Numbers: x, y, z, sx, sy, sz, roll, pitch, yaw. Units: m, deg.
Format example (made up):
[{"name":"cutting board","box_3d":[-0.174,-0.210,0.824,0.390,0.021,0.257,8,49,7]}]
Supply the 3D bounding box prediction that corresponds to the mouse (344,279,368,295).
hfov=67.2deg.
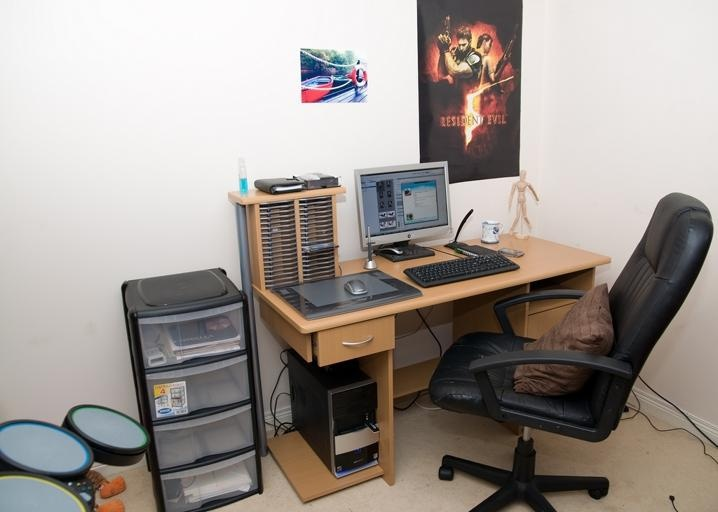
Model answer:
[{"name":"mouse","box_3d":[-0.013,0.154,2.702,0.100,0.046,0.124,-7,19,-12]}]

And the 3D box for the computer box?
[{"name":"computer box","box_3d":[-0.146,0.823,2.993,0.309,0.494,0.589,-11,19,-30]}]

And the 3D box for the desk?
[{"name":"desk","box_3d":[0.440,0.377,3.194,2.003,1.572,0.918,-8,18,-22]}]

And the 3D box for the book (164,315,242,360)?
[{"name":"book","box_3d":[-0.745,0.390,2.559,0.242,0.056,0.239,-6,13,-32]}]

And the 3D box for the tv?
[{"name":"tv","box_3d":[0.265,-0.286,3.236,0.627,0.541,0.248,-10,17,-23]}]
